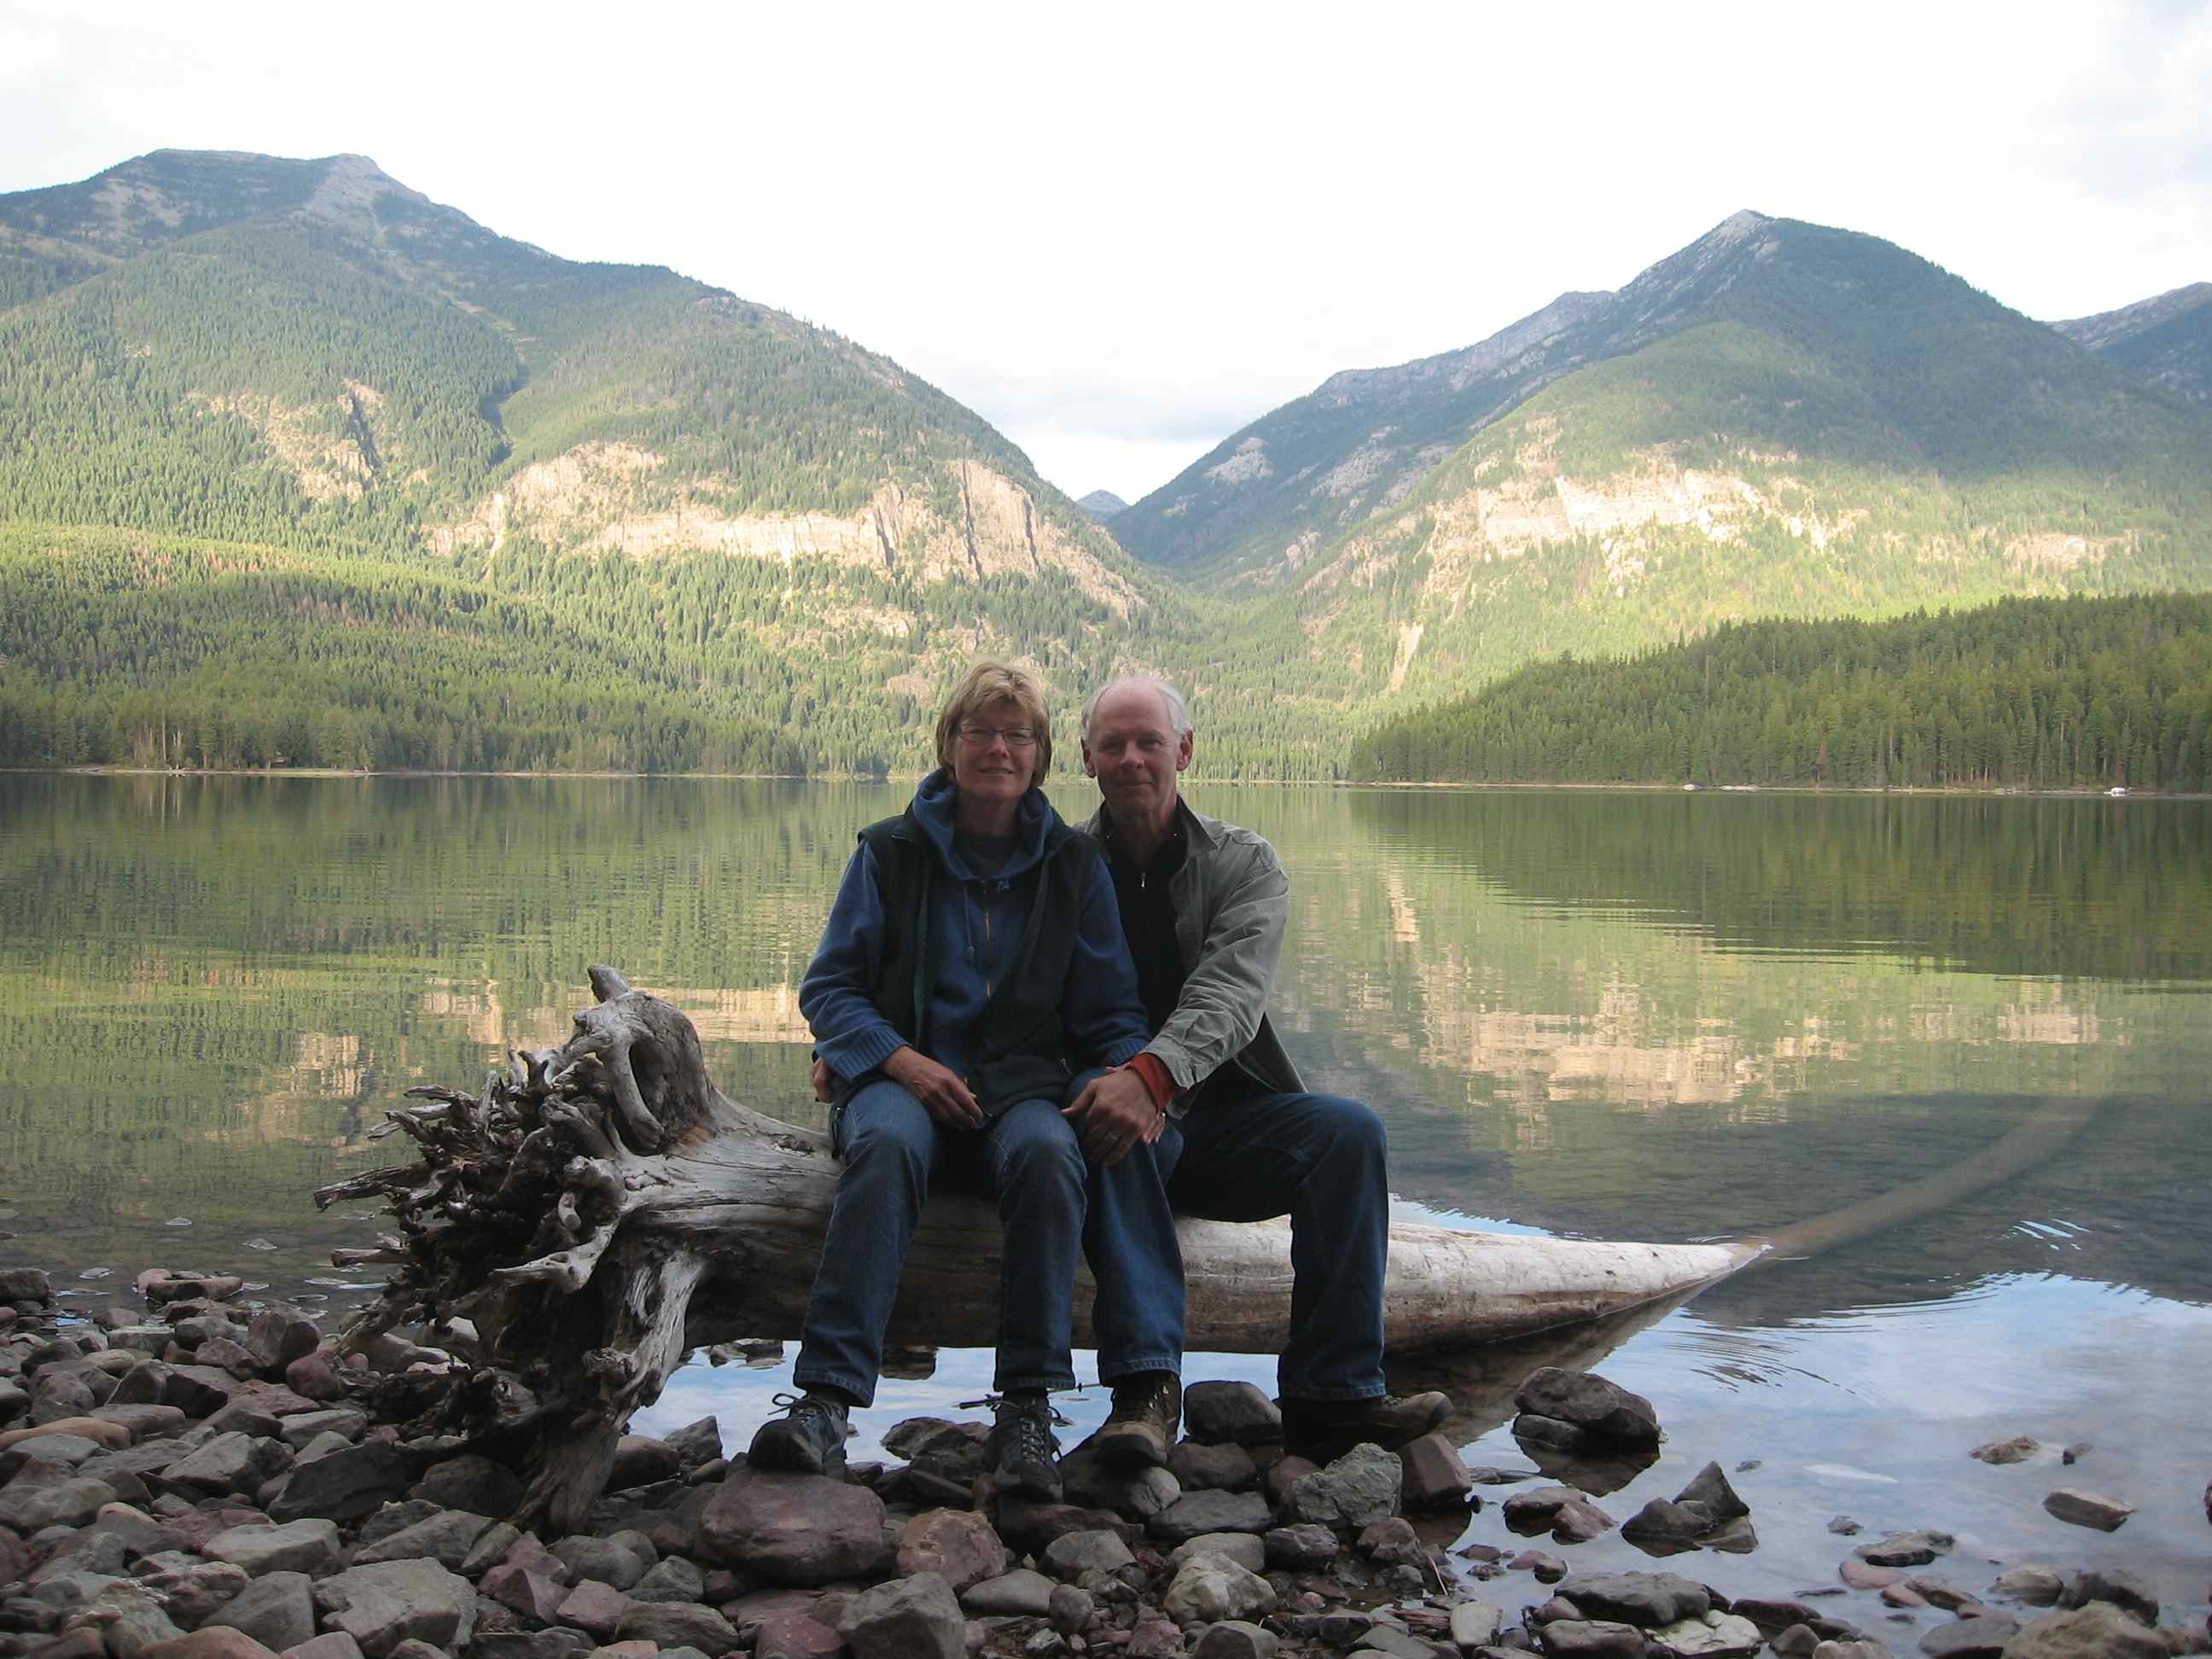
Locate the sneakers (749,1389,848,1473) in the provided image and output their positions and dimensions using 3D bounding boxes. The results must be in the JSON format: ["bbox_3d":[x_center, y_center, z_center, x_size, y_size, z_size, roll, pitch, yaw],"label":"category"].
[{"bbox_3d":[-1.438,2.815,9.386,0.236,0.270,0.561,1,-26,19],"label":"sneakers"}]

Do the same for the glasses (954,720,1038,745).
[{"bbox_3d":[-0.555,-0.468,10.178,0.397,0.104,0.119,2,-2,2],"label":"glasses"}]
